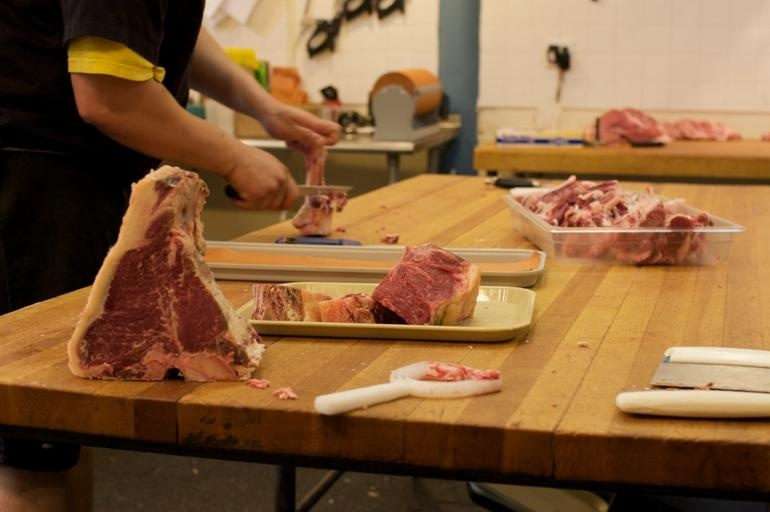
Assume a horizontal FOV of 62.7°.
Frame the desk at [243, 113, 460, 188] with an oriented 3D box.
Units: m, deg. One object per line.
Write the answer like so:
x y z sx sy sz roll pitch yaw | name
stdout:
0.068 -0.814 5.055 1.126 0.624 1.081 1 8 16 | desk
